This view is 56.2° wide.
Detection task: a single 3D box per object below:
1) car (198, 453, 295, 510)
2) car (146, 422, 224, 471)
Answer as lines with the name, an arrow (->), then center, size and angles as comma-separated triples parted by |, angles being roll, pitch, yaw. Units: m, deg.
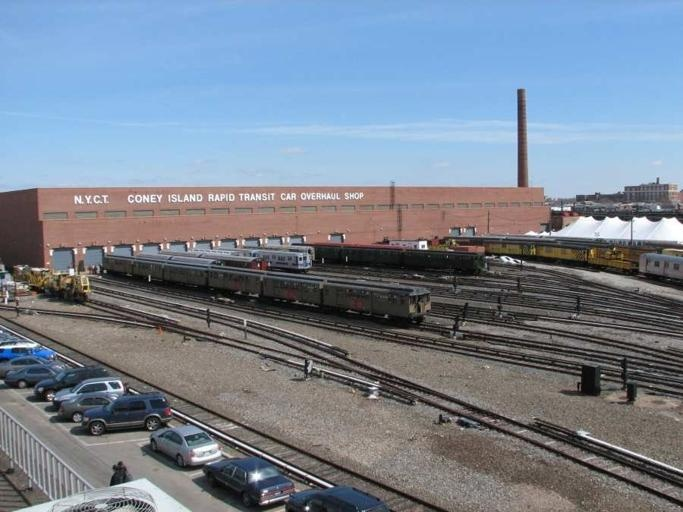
car -> -3.048, 7.274, 20.932 | 2.793, 0.725, 1.354 | 10, 7, 41
car -> -5.697, 6.767, 22.982 | 2.612, 0.667, 1.181 | 8, 6, 41
